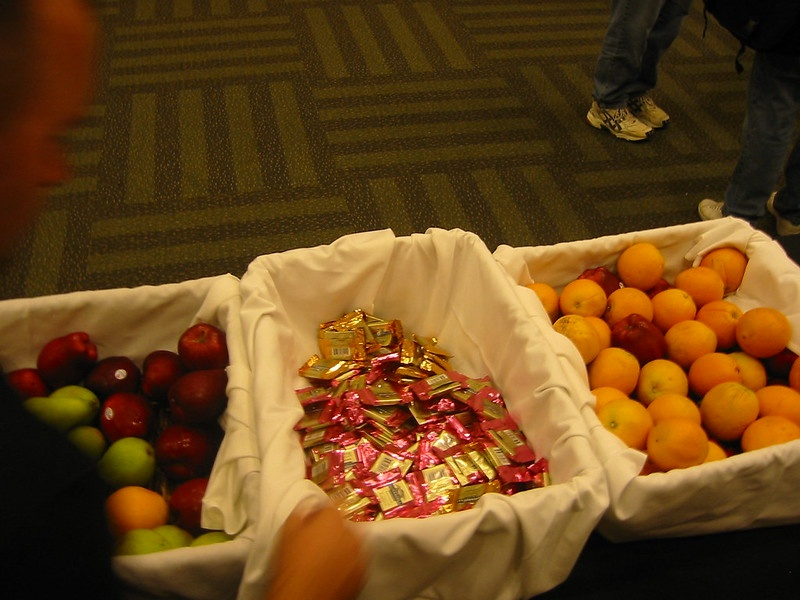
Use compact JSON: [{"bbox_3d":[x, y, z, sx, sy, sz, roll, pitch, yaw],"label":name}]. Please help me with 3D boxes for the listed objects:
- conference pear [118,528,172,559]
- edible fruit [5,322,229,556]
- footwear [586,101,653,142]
[{"bbox_3d":[-0.432,0.407,0.971,0.060,0.048,0.049,19,60,-34],"label":"conference pear"},{"bbox_3d":[-0.502,0.264,1.137,0.370,0.161,0.448,-8,43,-19],"label":"edible fruit"},{"bbox_3d":[0.978,-0.826,2.589,0.120,0.145,0.300,-41,56,-22],"label":"footwear"}]
